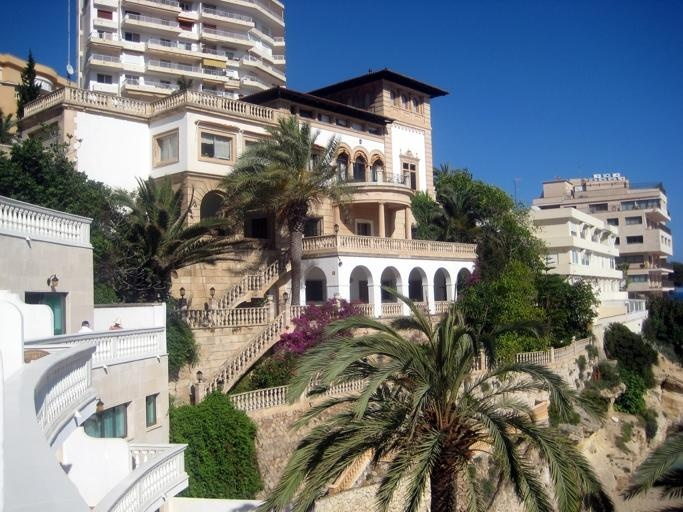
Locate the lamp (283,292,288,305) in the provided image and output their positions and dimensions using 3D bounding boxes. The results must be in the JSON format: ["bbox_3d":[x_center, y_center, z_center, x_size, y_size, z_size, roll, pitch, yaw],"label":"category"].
[{"bbox_3d":[-2.585,1.984,32.522,0.301,0.615,0.363,0,-7,-3],"label":"lamp"}]

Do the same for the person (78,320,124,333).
[{"bbox_3d":[-8.209,2.394,23.750,1.007,0.511,0.337,-4,-4,-10],"label":"person"}]

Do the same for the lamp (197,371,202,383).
[{"bbox_3d":[-5.736,4.872,28.343,0.275,0.425,0.772,2,-4,-12],"label":"lamp"}]

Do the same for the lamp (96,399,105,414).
[{"bbox_3d":[-7.310,4.594,21.329,0.205,0.492,0.590,2,-4,-16],"label":"lamp"}]
